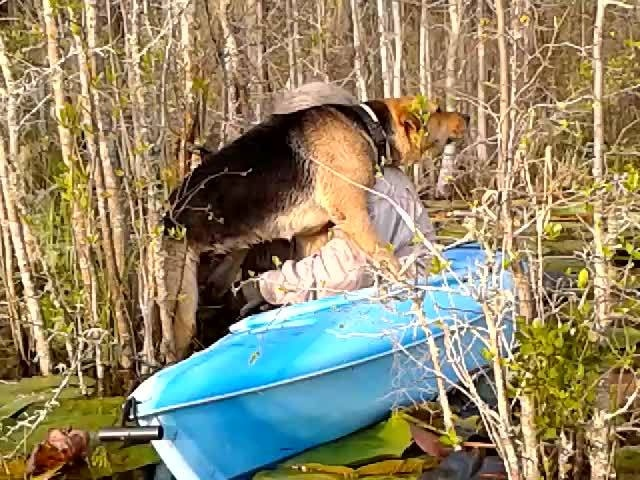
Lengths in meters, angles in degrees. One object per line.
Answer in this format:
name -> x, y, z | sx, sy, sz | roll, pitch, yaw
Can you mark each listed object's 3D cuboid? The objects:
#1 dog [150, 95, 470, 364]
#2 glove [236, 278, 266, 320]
dog -> -0.071, -0.192, 3.887 | 1.964, 1.128, 0.486 | -21, 23, -20
glove -> -0.346, 0.290, 3.714 | 0.157, 0.191, 0.119 | 15, 2, -32
